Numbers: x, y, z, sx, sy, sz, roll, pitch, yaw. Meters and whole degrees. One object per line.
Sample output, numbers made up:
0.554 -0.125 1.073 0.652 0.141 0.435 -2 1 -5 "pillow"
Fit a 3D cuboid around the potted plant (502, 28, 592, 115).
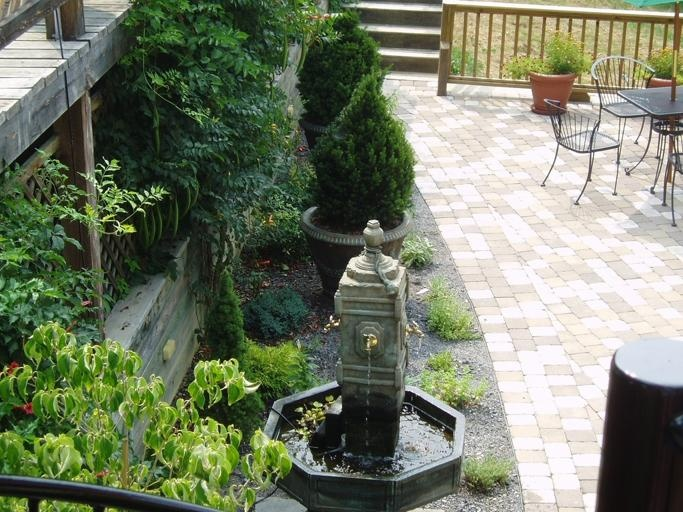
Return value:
2.995 -2.608 10.269 0.988 1.217 0.823 9 13 30 "potted plant"
